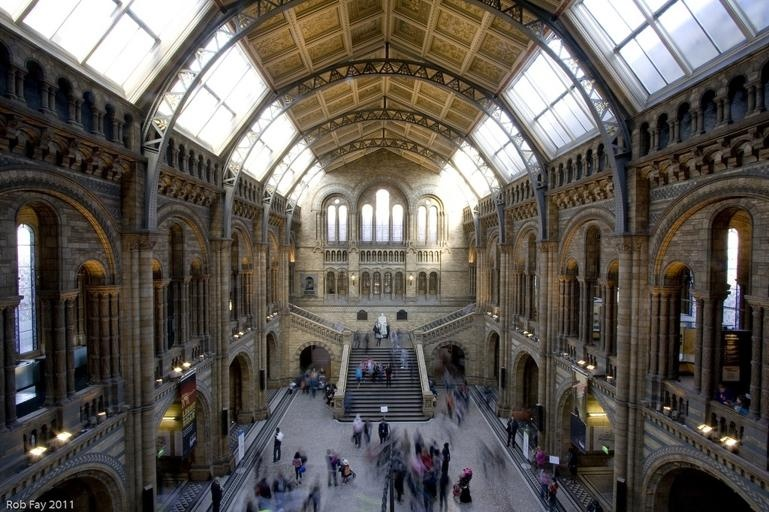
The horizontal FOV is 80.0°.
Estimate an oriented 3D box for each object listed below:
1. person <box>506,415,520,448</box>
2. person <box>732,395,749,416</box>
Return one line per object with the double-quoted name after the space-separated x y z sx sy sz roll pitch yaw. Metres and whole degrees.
7.177 9.760 25.665 0.516 1.370 1.534 1 4 15 "person"
11.490 4.868 14.730 0.387 0.723 0.671 1 -8 28 "person"
